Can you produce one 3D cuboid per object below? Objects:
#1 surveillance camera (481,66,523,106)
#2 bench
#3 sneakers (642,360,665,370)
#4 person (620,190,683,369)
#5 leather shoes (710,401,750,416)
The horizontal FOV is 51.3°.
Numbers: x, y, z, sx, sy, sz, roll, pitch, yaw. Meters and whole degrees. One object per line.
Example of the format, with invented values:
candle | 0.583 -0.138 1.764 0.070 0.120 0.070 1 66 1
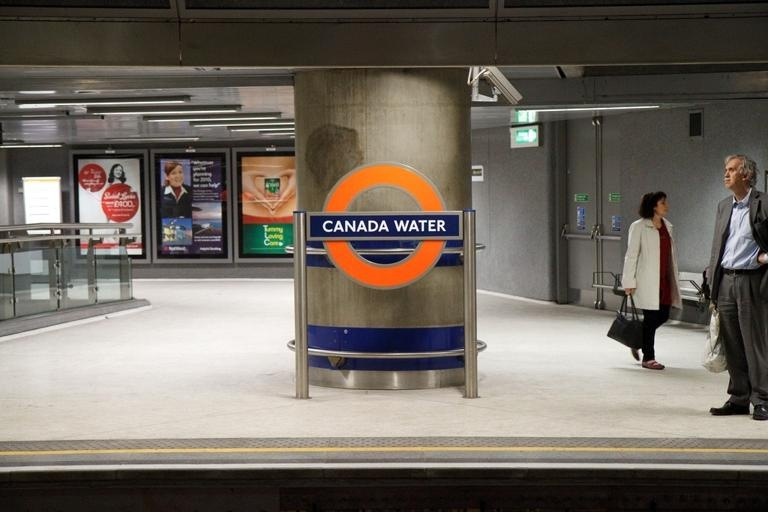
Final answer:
surveillance camera | 1.611 -2.357 10.974 0.182 0.223 0.815 42 8 36
bench | 4.560 0.675 13.439 0.837 0.656 2.525 -10 10 -27
sneakers | 3.471 1.405 10.404 0.239 0.094 0.118 -4 -4 40
person | 3.507 0.346 10.531 0.720 2.319 0.883 7 16 32
leather shoes | 3.592 1.600 8.430 0.453 0.177 0.153 2 -6 7
